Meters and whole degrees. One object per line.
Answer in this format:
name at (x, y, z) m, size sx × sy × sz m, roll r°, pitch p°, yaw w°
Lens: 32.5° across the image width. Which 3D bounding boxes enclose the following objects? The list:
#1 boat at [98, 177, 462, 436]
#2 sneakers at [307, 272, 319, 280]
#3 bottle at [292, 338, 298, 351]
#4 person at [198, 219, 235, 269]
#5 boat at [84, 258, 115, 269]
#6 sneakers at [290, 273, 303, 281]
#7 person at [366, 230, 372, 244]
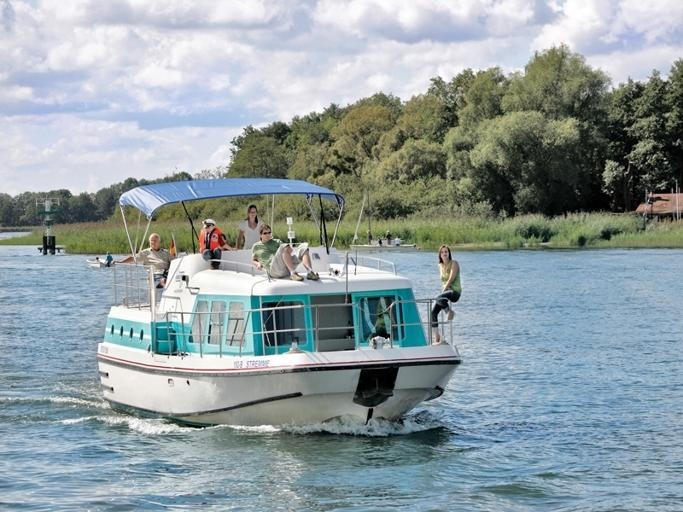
boat at (-2.034, 1.163, 32.924) m, size 9.408 × 7.151 × 3.577 m, roll -4°, pitch -3°, yaw 27°
sneakers at (-0.699, 0.568, 31.936) m, size 0.242 × 0.260 × 0.380 m, roll -5°, pitch -4°, yaw 41°
bottle at (-1.214, 2.420, 31.411) m, size 0.196 × 0.352 × 0.550 m, roll -2°, pitch -3°, yaw -2°
person at (-3.666, -0.331, 33.271) m, size 0.957 × 1.346 × 0.819 m, roll 2°, pitch 15°, yaw 40°
boat at (-13.919, 0.517, 67.493) m, size 1.189 × 0.671 × 2.711 m, roll 1°, pitch 0°, yaw -26°
sneakers at (-1.184, 0.589, 31.902) m, size 0.367 × 0.226 × 0.262 m, roll -2°, pitch -3°, yaw -7°
person at (1.991, -1.260, 83.120) m, size 0.308 × 0.965 × 0.564 m, roll -5°, pitch -3°, yaw 13°
